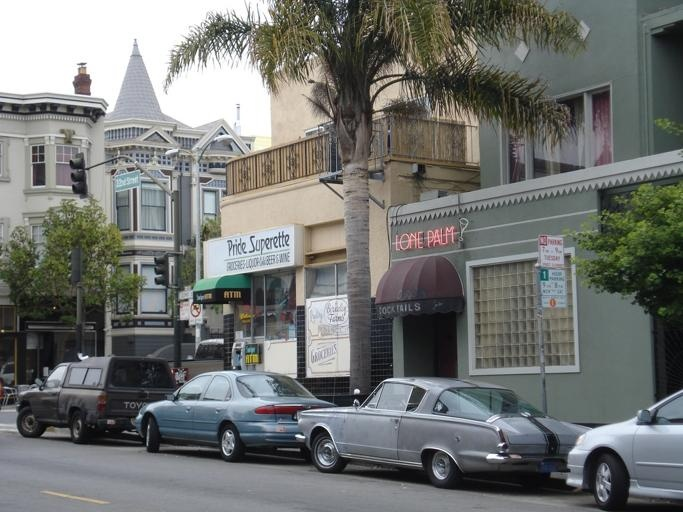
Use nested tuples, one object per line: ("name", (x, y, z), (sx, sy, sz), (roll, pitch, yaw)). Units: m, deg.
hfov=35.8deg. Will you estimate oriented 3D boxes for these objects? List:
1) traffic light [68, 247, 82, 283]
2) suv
("traffic light", (-9.444, 0.353, 37.399), (0.291, 1.235, 0.458), (2, -8, -26))
("suv", (-6.323, 3.430, 26.306), (2.037, 1.699, 3.617), (4, -5, -39))
